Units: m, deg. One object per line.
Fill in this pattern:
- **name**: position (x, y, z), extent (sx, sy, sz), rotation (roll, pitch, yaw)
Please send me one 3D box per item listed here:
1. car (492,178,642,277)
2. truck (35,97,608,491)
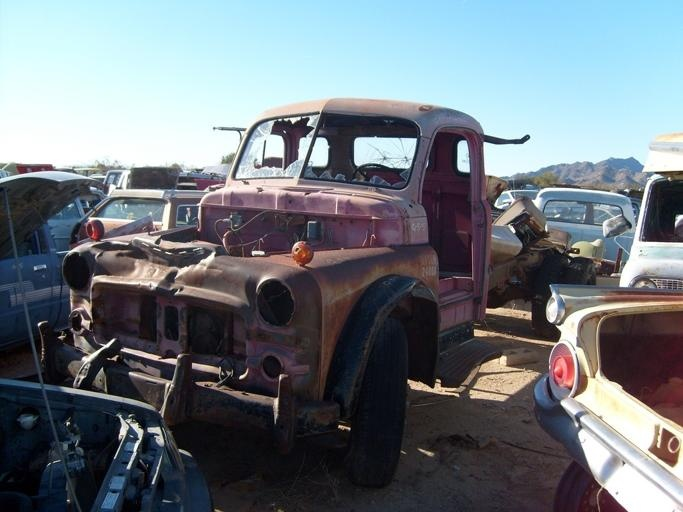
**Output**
- **car**: position (5.501, -0.442, 11.213), extent (3.590, 1.831, 2.212), rotation (1, 9, 6)
- **truck**: position (0.494, -0.269, 6.284), extent (3.538, 3.007, 7.166), rotation (5, 12, 31)
